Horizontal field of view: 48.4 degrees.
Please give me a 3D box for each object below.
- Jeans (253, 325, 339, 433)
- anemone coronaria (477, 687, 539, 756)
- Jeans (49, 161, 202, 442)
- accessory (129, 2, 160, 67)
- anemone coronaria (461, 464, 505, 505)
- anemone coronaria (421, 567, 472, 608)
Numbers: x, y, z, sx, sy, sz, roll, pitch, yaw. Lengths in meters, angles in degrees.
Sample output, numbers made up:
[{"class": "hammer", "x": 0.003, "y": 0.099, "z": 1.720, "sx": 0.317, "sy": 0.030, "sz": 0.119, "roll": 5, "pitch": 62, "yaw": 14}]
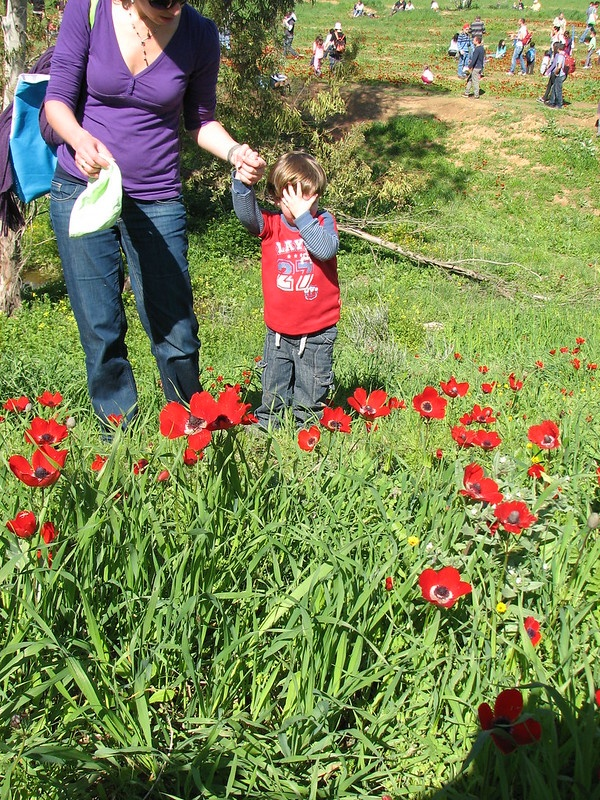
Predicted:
[{"class": "Jeans", "x": -0.039, "y": -0.152, "z": 3.330, "sx": 0.356, "sy": 0.726, "sz": 0.232, "roll": 8, "pitch": 32, "yaw": 0}, {"class": "anemone coronaria", "x": 0.375, "y": 0.578, "z": 1.199, "sx": 0.111, "sy": 0.061, "sz": 0.121, "roll": 3, "pitch": 31, "yaw": 18}, {"class": "Jeans", "x": -0.739, "y": -0.446, "z": 2.925, "sx": 0.569, "sy": 1.235, "sz": 0.361, "roll": -8, "pitch": 41, "yaw": -18}, {"class": "accessory", "x": -0.568, "y": -1.334, "z": 2.432, "sx": 0.102, "sy": 0.212, "sz": 0.047, "roll": 2, "pitch": 24, "yaw": -6}, {"class": "anemone coronaria", "x": 0.483, "y": 0.212, "z": 1.701, "sx": 0.107, "sy": 0.056, "sz": 0.096, "roll": -17, "pitch": 57, "yaw": -23}, {"class": "anemone coronaria", "x": 0.299, "y": 0.404, "z": 1.416, "sx": 0.097, "sy": 0.101, "sz": 0.068, "roll": -4, "pitch": 26, "yaw": -19}]
